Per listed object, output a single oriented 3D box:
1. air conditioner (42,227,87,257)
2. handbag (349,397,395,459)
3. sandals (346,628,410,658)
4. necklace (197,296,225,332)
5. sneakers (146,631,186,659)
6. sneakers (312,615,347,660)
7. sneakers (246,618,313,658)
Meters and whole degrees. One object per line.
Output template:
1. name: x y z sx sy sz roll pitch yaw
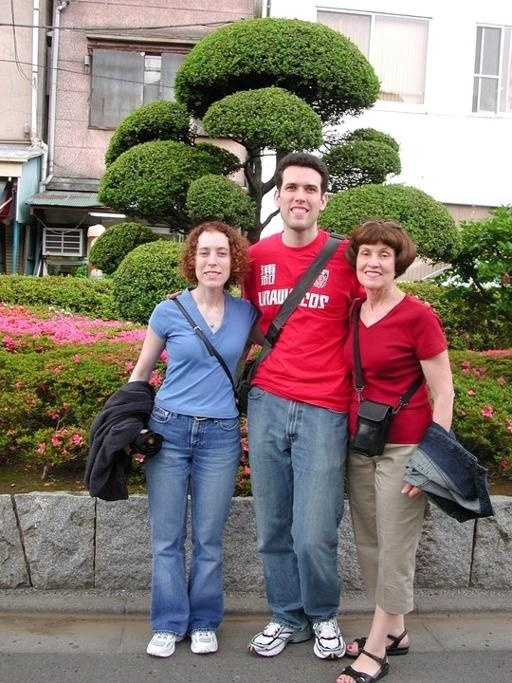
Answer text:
1. air conditioner: -3.867 -1.982 14.132 1.135 0.652 0.525 1 8 -5
2. handbag: 0.488 0.367 2.986 0.135 0.215 0.094 8 11 29
3. sandals: 0.551 1.392 3.254 0.305 0.103 0.115 0 2 -9
4. necklace: -0.202 -0.130 3.263 0.125 0.143 0.039 -1 -16 -9
5. sneakers: -0.430 1.381 3.184 0.074 0.063 0.176 3 -8 12
6. sneakers: 0.343 1.365 3.208 0.106 0.090 0.224 0 -2 -3
7. sneakers: 0.102 1.386 3.321 0.319 0.113 0.117 -2 6 -35
